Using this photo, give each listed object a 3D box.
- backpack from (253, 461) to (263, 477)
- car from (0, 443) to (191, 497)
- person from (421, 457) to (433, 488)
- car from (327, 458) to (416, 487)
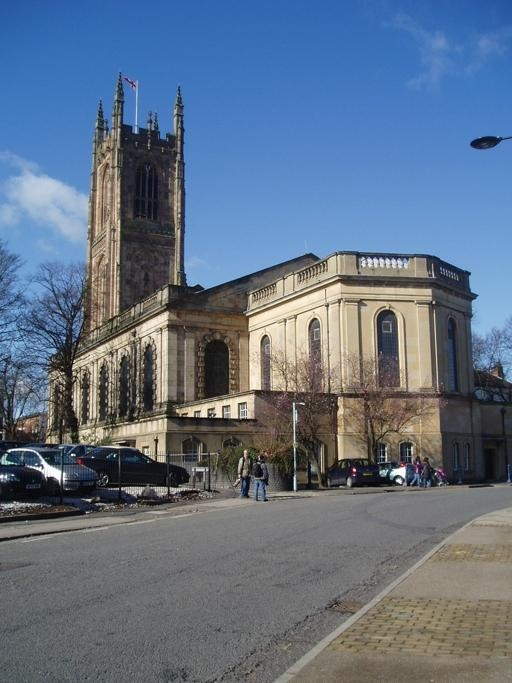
[{"bbox_3d":[0.061,4.207,23.261,0.214,0.500,0.344,2,-10,-16],"label":"backpack"},{"bbox_3d":[-5.413,4.354,24.590,2.701,1.595,7.386,-6,-12,25],"label":"car"},{"bbox_3d":[8.257,6.318,34.372,0.488,1.410,2.386,-3,-11,13],"label":"person"},{"bbox_3d":[5.371,6.288,33.972,3.267,1.284,2.406,3,-12,-20],"label":"car"}]
